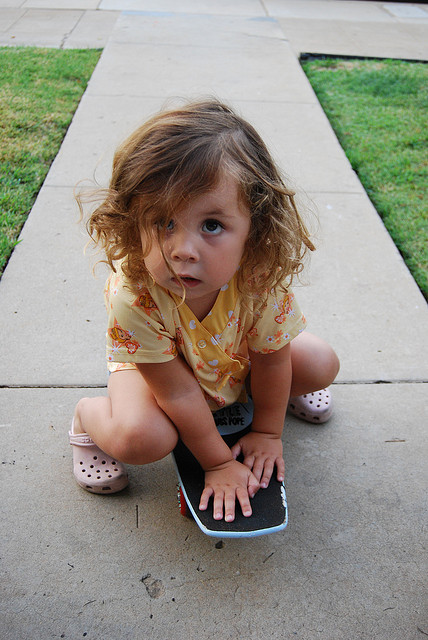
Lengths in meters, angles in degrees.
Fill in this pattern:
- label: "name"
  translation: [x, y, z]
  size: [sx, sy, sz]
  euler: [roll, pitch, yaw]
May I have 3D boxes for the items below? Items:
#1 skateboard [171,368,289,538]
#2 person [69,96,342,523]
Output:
- label: "skateboard"
  translation: [0.024, 0.337, 1.413]
  size: [0.253, 0.237, 0.465]
  euler: [-7, 31, -9]
- label: "person"
  translation: [-0.063, -0.019, 1.339]
  size: [0.555, 0.892, 0.532]
  euler: [12, 34, 22]
